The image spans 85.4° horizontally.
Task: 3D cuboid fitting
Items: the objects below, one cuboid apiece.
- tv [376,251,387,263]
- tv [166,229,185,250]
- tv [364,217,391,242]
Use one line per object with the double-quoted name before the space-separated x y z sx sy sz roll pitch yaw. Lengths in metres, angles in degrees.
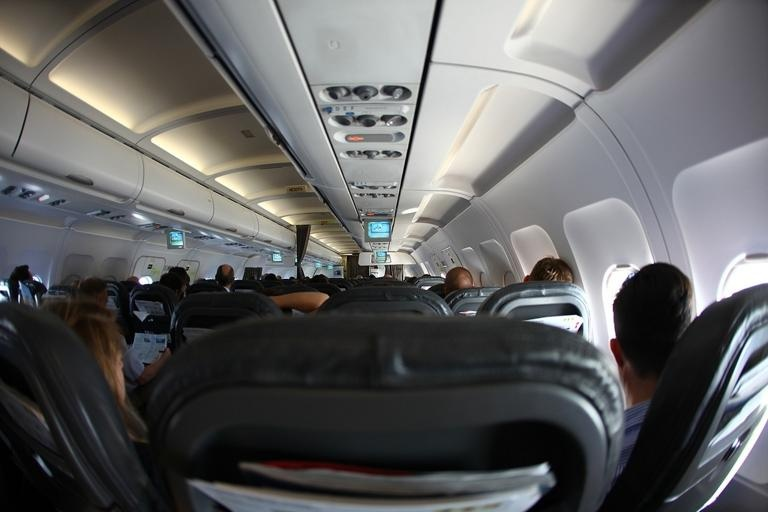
"tv" -0.118 -0.006 15.149 0.371 0.340 0.261 -17 4 -12
"tv" -4.789 -0.402 9.549 0.486 0.491 0.090 0 8 -41
"tv" -0.140 -0.596 9.186 0.588 0.510 0.335 -5 13 -3
